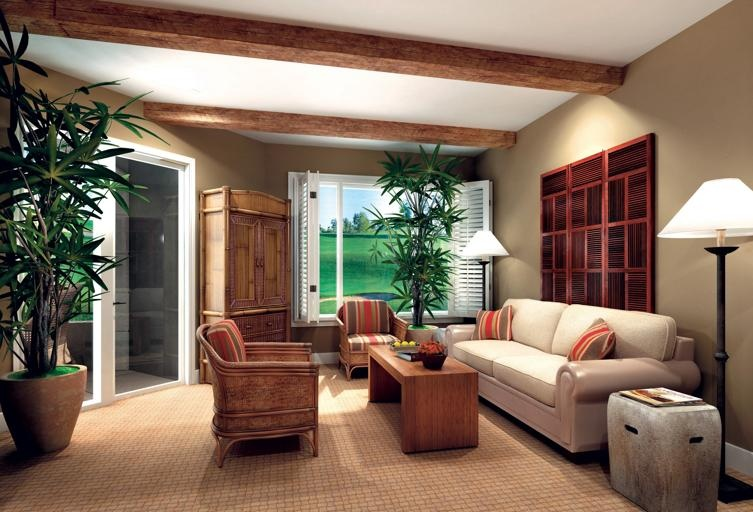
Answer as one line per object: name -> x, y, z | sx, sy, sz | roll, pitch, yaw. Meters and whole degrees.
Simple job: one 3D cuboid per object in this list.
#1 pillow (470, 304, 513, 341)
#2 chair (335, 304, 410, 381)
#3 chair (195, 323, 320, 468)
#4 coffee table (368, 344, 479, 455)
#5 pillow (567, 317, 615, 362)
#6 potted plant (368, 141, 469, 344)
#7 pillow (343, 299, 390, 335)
pillow -> 1.465, 0.843, 6.014 | 0.197, 0.410, 0.517 | 7, -13, -38
chair -> -0.063, 1.061, 6.486 | 0.940, 0.873, 0.798 | 0, 4, -6
chair -> -1.061, 1.169, 4.631 | 1.421, 1.209, 1.058 | 0, -1, -12
coffee table -> 0.474, 1.017, 4.623 | 0.777, 0.640, 1.508 | -1, 2, -17
pillow -> 2.013, 0.896, 4.580 | 0.295, 0.376, 0.501 | -1, -4, 1
potted plant -> 0.597, -0.251, 6.999 | 1.351, 2.623, 1.336 | -1, 10, 0
pillow -> -0.199, 0.856, 6.766 | 0.738, 0.456, 0.382 | 2, -9, -28
